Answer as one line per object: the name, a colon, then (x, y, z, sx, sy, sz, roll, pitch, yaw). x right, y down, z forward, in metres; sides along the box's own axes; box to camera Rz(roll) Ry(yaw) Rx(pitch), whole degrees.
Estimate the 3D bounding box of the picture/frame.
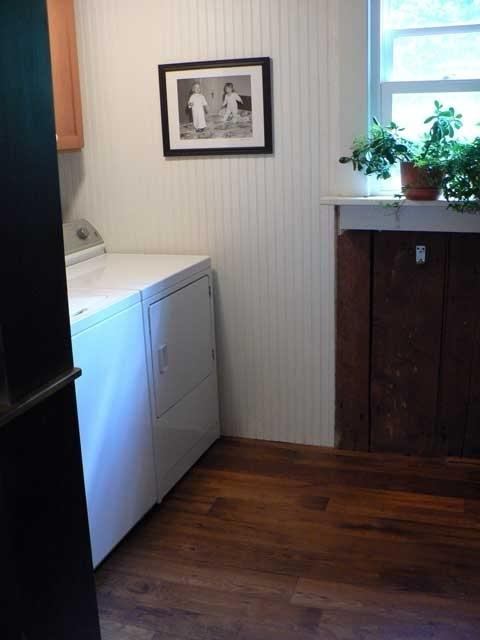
picture/frame: (-0.088, -0.925, 2.135, 0.339, 0.339, 0.017, 3, 18, 19)
